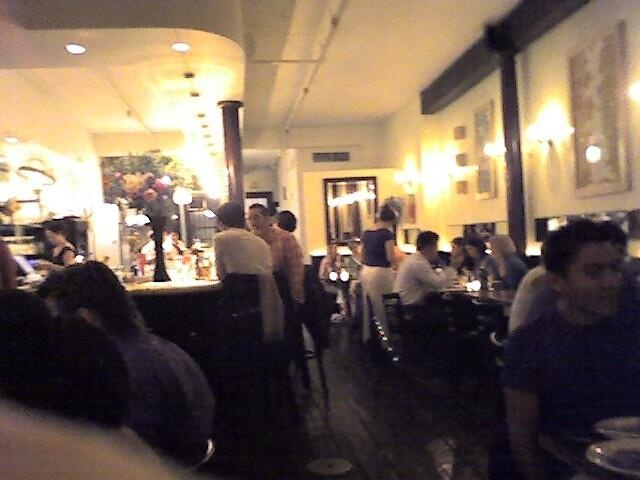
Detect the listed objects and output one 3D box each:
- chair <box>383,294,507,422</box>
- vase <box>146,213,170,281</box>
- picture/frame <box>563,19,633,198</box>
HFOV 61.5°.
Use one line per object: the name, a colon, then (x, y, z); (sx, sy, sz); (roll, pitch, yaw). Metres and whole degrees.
chair: (0.910, 0.720, 3.560); (0.595, 0.723, 1.061); (1, -2, -5)
vase: (-1.092, 0.006, 3.511); (0.152, 0.497, 0.148); (-7, 2, -37)
picture/frame: (2.061, -0.907, 3.863); (0.286, 1.271, 0.978); (2, 1, 11)
